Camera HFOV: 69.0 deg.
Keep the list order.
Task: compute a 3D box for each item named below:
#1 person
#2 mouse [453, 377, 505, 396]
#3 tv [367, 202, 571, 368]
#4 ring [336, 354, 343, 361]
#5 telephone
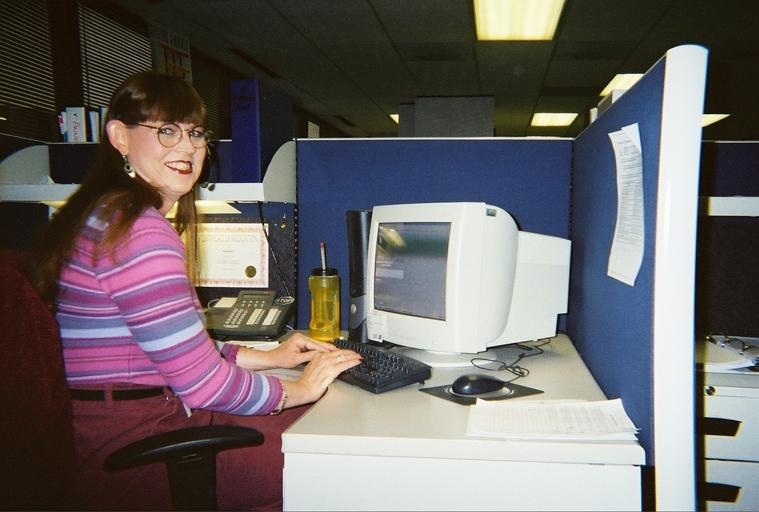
[{"bbox_3d":[-0.650,0.009,2.534,1.321,1.982,1.055,-1,7,-24],"label":"person"},{"bbox_3d":[0.306,0.392,1.670,0.108,0.033,0.067,-2,2,-4],"label":"mouse"},{"bbox_3d":[0.310,0.075,2.153,0.634,0.534,0.618,0,-1,-30],"label":"tv"},{"bbox_3d":[-0.127,0.326,1.757,0.013,0.005,0.018,4,38,1],"label":"ring"},{"bbox_3d":[-0.553,0.239,2.302,0.384,0.122,0.270,1,18,21],"label":"telephone"}]
